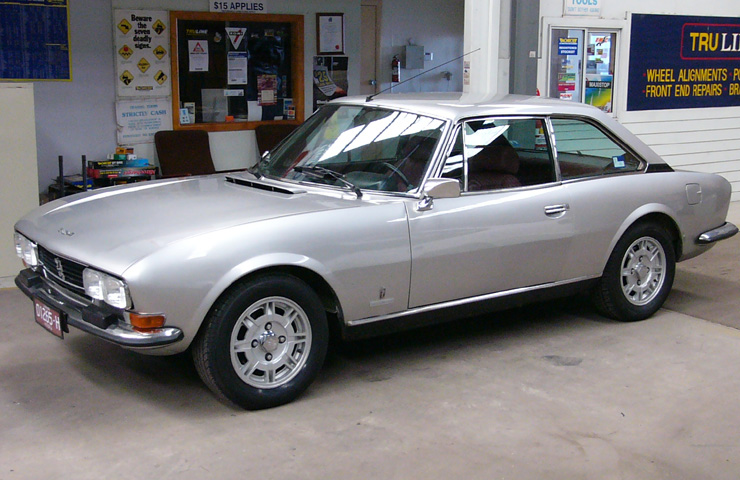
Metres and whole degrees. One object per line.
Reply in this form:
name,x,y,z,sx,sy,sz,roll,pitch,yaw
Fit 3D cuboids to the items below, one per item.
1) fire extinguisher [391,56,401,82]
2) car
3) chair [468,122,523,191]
fire extinguisher,0.577,-3.941,12.128,0.194,0.577,0.309,1,17,10
car,0.113,-0.043,4.181,5.122,2.071,1.752,-12,19,-28
chair,0.944,-0.661,4.185,0.522,0.516,0.732,2,9,8
